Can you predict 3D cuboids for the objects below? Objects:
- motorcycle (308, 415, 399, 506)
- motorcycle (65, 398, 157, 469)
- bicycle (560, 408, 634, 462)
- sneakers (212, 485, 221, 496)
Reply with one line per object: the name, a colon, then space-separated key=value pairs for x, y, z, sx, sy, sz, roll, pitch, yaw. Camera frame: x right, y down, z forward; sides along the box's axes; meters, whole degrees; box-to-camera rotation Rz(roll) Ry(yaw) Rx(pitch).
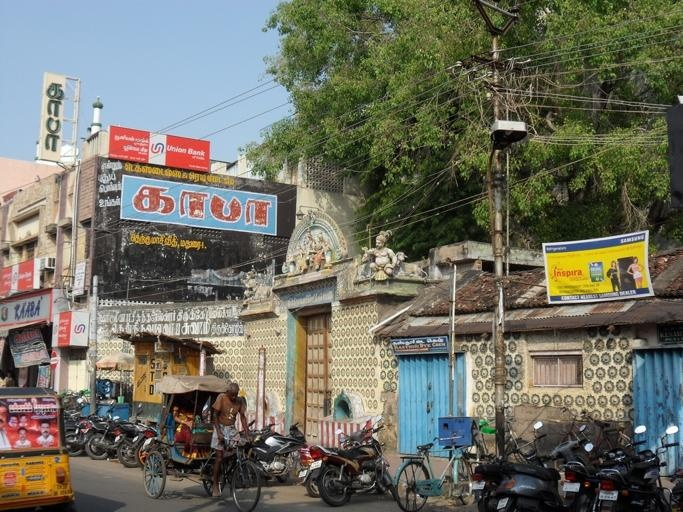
motorcycle: x=0.158 y=4.708 z=19.523 sx=2.194 sy=1.457 sz=1.070 roll=3 pitch=-14 yaw=-43
motorcycle: x=-6.728 y=5.252 z=25.491 sx=1.559 sy=1.677 sz=6.138 roll=4 pitch=-14 yaw=-32
bicycle: x=5.763 y=3.905 z=19.274 sx=1.695 sy=1.168 sz=0.934 roll=3 pitch=-16 yaw=-3
sneakers: x=-2.706 y=5.073 z=19.231 sx=0.189 sy=0.222 sz=0.205 roll=-1 pitch=-11 yaw=-10
